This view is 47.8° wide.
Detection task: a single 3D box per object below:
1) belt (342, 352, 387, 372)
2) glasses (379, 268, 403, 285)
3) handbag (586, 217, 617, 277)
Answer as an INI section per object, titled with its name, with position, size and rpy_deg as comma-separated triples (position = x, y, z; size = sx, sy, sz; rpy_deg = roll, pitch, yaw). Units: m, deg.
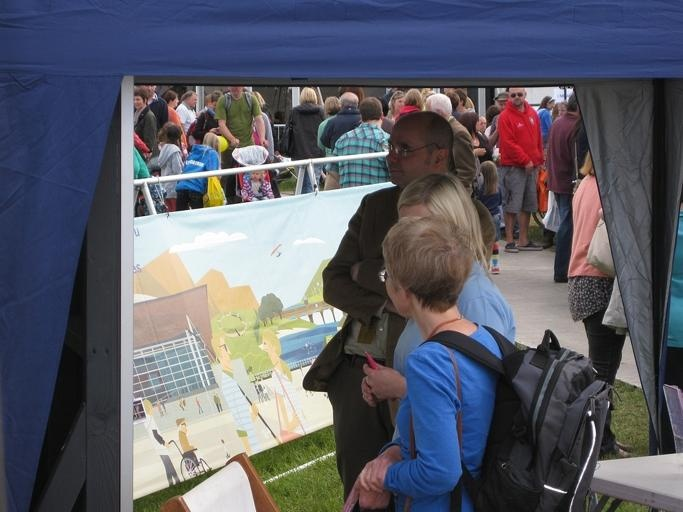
[belt]
position = 0.074, 0.474, 3.511
size = 0.123, 0.056, 0.095
rpy_deg = 4, -3, -25
[glasses]
position = 0.177, 0.073, 2.856
size = 0.053, 0.020, 0.058
rpy_deg = 9, -26, 49
[handbag]
position = 1.720, -0.045, 5.102
size = 0.160, 0.420, 0.297
rpy_deg = -4, 6, 19
